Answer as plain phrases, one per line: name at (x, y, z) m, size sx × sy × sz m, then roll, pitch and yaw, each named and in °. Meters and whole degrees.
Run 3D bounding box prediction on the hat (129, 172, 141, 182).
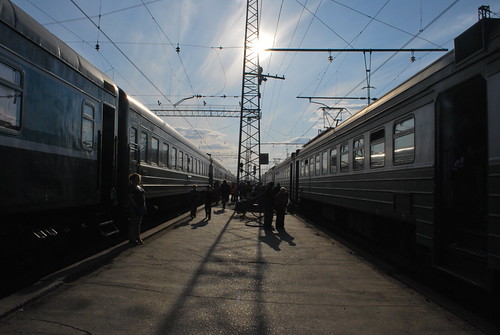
hat at (-3.283, 0.271, 9.959) m, size 0.228 × 0.339 × 0.319 m, roll 4°, pitch 10°, yaw 4°
